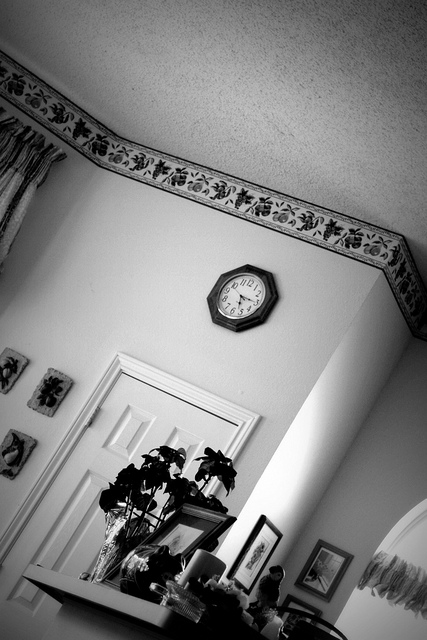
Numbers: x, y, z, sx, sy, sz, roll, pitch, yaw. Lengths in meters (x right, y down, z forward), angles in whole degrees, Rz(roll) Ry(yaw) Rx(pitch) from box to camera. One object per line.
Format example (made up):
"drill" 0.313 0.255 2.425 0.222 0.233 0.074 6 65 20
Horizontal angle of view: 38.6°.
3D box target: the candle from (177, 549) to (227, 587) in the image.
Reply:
"candle" -0.041 0.629 1.572 0.094 0.083 0.071 48 -31 -22

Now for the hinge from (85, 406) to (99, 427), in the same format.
"hinge" -0.688 0.548 3.490 0.037 0.086 0.016 41 -24 -13

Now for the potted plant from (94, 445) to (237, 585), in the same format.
"potted plant" -0.201 0.755 2.258 0.463 0.595 0.240 14 -3 1

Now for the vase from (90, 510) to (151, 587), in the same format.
"vase" -0.331 0.766 2.047 0.168 0.146 0.552 35 -22 -4

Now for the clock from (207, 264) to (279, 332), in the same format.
"clock" 0.164 -0.132 3.526 0.366 0.381 0.119 24 -25 21
